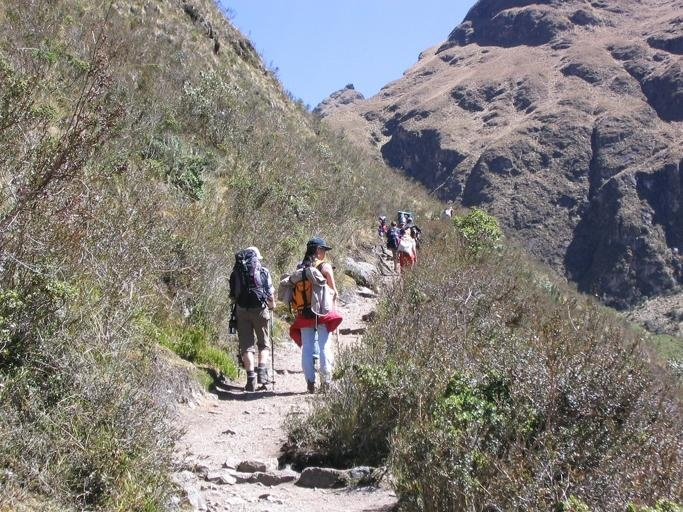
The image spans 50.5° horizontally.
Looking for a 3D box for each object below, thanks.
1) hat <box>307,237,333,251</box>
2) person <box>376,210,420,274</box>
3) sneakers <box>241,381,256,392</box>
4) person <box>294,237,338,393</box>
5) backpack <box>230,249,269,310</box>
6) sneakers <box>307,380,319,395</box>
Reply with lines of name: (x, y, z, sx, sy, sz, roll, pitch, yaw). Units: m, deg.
hat: (-0.249, -0.151, 9.290, 0.270, 0.137, 0.200, 12, 1, -21)
person: (1.254, -0.321, 15.828, 0.662, 1.205, 2.059, 0, 8, 4)
sneakers: (-1.215, 1.709, 9.521, 0.112, 0.137, 0.121, -3, -5, 33)
person: (-0.341, 0.750, 9.257, 0.700, 1.894, 0.583, -1, -14, 6)
backpack: (-1.218, 0.334, 9.491, 0.655, 1.070, 0.497, -1, -5, -6)
sneakers: (-0.361, 1.681, 9.286, 0.128, 0.173, 0.146, 0, -6, -8)
